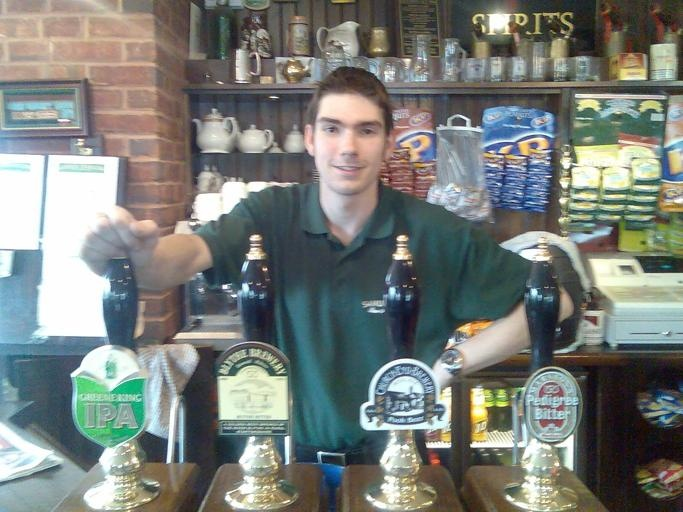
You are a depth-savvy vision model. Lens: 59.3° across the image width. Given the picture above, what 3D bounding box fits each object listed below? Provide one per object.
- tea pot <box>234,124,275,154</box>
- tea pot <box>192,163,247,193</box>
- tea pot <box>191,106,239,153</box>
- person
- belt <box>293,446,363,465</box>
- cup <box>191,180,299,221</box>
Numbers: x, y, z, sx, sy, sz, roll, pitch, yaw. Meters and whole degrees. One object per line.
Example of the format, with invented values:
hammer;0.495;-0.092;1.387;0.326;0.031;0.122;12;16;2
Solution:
tea pot;-0.476;-0.643;3.301;0.237;0.116;0.145;7;12;26
tea pot;-0.653;-0.430;3.371;0.315;0.217;0.155;2;0;-3
tea pot;-0.686;-0.678;3.285;0.341;0.214;0.221;4;9;20
person;-0.034;0.021;1.610;1.116;1.088;0.534;-4;4;-12
belt;-0.040;0.547;1.606;0.189;0.039;0.085;-1;3;8
cup;-0.600;-0.293;3.084;0.384;0.126;0.425;0;-2;-3
